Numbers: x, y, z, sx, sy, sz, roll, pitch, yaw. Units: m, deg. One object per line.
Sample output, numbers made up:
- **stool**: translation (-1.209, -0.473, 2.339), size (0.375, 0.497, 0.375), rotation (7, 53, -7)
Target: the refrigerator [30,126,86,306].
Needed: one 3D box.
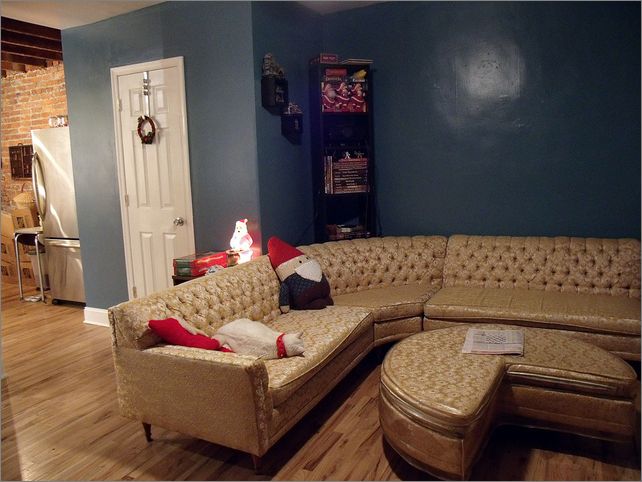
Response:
- **refrigerator**: translation (-3.272, -0.303, 6.027), size (0.698, 2.180, 0.245), rotation (0, 11, 24)

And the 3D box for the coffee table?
- **coffee table**: translation (1.166, 1.045, 3.236), size (1.586, 0.545, 0.956), rotation (-8, 9, -17)

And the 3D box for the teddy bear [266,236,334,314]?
- **teddy bear**: translation (-0.199, 0.291, 4.339), size (0.578, 0.670, 0.598), rotation (-9, 4, 32)

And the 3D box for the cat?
- **cat**: translation (-0.417, 0.695, 3.302), size (0.461, 0.193, 0.278), rotation (8, 17, -1)

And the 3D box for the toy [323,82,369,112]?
- **toy**: translation (0.216, -1.451, 4.786), size (0.352, 0.343, 0.086), rotation (-1, 13, -9)

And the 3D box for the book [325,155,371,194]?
- **book**: translation (0.227, -0.667, 5.140), size (0.564, 0.537, 0.347), rotation (0, 9, -5)
